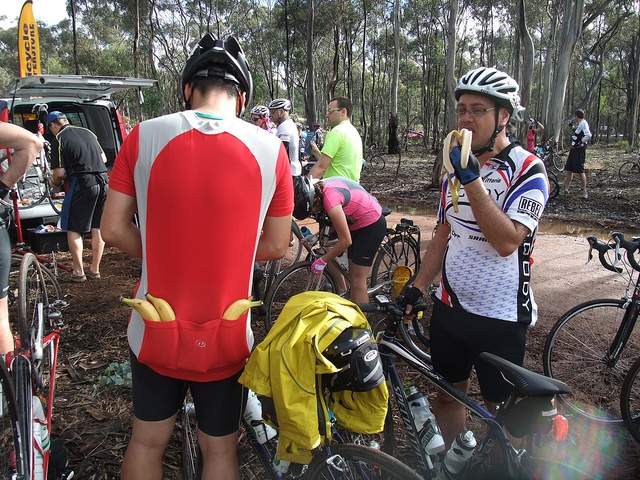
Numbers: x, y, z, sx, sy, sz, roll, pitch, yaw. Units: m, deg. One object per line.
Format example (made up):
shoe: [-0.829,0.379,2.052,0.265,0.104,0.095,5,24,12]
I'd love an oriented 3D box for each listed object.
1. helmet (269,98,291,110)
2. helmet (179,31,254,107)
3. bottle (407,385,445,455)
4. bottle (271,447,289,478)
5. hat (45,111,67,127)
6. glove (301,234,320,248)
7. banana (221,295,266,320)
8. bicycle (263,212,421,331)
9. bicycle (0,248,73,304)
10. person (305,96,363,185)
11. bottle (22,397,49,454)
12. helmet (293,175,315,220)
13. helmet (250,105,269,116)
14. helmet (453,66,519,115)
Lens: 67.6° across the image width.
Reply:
helmet: [-0.722,-2.336,8.479,0.337,0.201,0.262,9,25,16]
helmet: [-0.543,-0.939,2.643,0.337,0.408,0.411,2,-9,16]
bottle: [0.616,1.065,2.882,0.151,0.437,0.140,-17,3,1]
bottle: [-0.226,1.299,2.844,0.099,0.147,0.150,16,26,-17]
hat: [-3.695,-1.701,6.691,0.216,0.181,0.309,-6,12,-32]
glove: [-0.104,0.011,5.420,0.110,0.064,0.158,-3,-12,-29]
banana: [-0.393,0.336,2.448,0.181,0.101,0.213,0,10,-2]
bicycle: [0.125,0.238,5.837,1.939,1.385,0.979,-5,8,-36]
bicycle: [-2.882,0.390,4.887,0.138,0.645,0.637,-7,12,-2]
person: [0.227,-1.367,6.489,0.661,1.174,0.866,1,9,5]
bottle: [-1.705,1.140,2.927,0.106,0.357,0.142,-15,19,-34]
helmet: [-0.168,-0.407,4.672,0.251,0.379,0.270,8,10,31]
helmet: [-1.123,-2.338,8.820,0.353,0.157,0.277,9,25,-4]
helmet: [1.039,-0.917,2.919,0.348,0.211,0.260,20,5,-32]
